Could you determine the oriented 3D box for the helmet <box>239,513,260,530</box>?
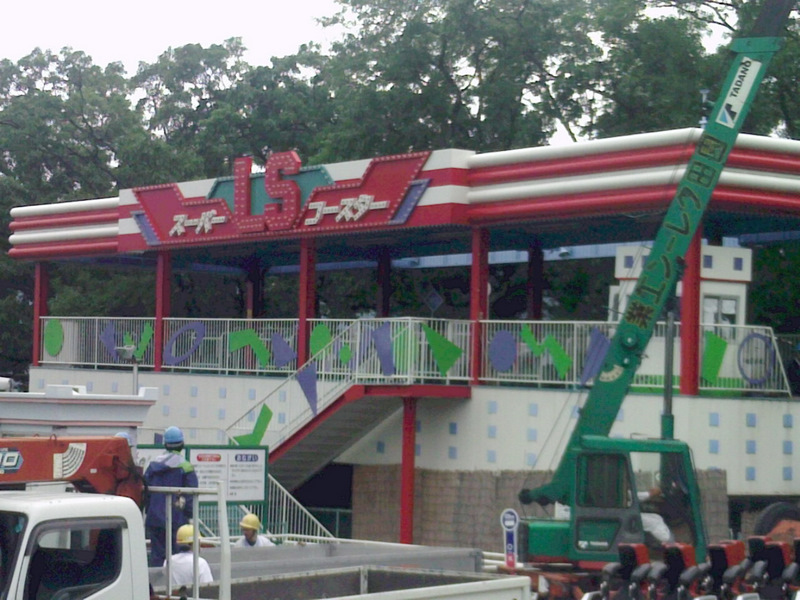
[{"bbox_3d":[-2.974,4.549,43.646,0.371,0.197,0.286,14,-3,-28],"label":"helmet"}]

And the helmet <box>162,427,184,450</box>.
[{"bbox_3d":[-4.474,2.805,42.815,0.362,0.477,0.464,-1,-8,-11],"label":"helmet"}]

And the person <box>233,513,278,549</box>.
[{"bbox_3d":[-2.933,4.816,43.789,0.807,0.741,0.658,1,-20,5],"label":"person"}]

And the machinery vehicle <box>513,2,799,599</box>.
[{"bbox_3d":[5.097,0.112,45.118,5.298,12.462,2.048,0,-14,3],"label":"machinery vehicle"}]

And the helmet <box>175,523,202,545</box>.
[{"bbox_3d":[-3.994,4.488,41.364,0.416,0.303,0.571,1,7,38],"label":"helmet"}]

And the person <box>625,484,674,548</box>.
[{"bbox_3d":[5.119,4.426,43.695,0.687,1.175,0.285,-1,-14,7],"label":"person"}]
